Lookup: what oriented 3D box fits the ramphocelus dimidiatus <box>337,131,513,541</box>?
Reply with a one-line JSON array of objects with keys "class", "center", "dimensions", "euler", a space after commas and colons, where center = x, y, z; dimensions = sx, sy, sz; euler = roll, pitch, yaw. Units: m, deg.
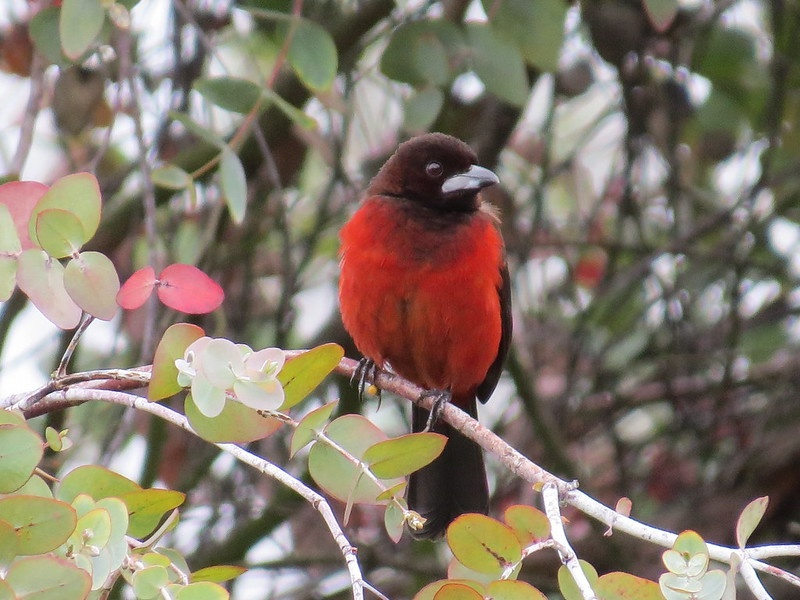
[{"class": "ramphocelus dimidiatus", "center": [0.173, 0.410, 5.994], "dimensions": [0.968, 2.179, 2.051], "euler": [-1, -30, 2]}]
